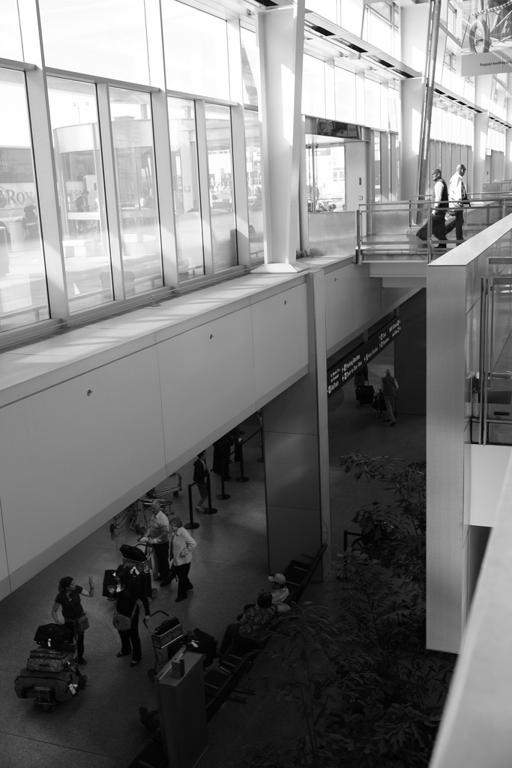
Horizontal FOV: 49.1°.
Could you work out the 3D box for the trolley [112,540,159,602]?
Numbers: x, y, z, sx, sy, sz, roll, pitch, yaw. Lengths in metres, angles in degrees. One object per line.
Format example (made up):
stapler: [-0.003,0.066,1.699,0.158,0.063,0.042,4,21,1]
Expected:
trolley: [-2.522,3.795,11.716,0.728,1.394,0.809,10,26,14]

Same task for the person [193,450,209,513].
person: [-1.551,2.648,15.547,0.408,1.610,1.823,-7,2,-8]

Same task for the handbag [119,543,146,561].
handbag: [-2.542,3.489,11.612,0.472,0.306,0.349,9,-8,9]

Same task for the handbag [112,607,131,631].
handbag: [-2.420,4.276,10.094,0.240,0.403,0.407,-9,2,-43]

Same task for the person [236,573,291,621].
person: [0.135,4.303,11.256,0.646,0.631,1.292,1,-21,-4]

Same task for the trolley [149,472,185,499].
trolley: [-2.703,3.128,16.877,0.881,0.764,2.059,-8,2,-5]

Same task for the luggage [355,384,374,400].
luggage: [4.652,0.373,24.237,0.715,0.836,0.582,0,9,8]

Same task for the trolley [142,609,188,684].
trolley: [-1.598,4.577,9.720,0.458,1.168,0.480,-1,7,38]
